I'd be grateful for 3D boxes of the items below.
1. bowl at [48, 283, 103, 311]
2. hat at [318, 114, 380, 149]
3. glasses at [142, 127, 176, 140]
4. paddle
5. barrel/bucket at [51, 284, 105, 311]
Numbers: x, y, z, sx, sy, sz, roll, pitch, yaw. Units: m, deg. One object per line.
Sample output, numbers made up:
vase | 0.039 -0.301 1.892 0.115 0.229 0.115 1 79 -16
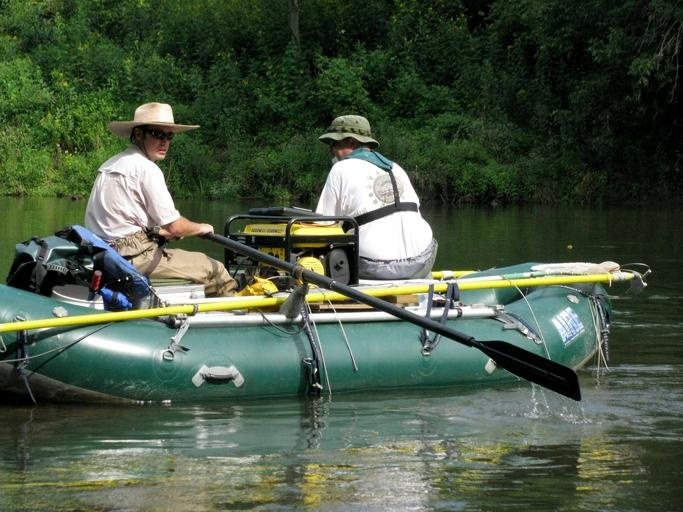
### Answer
bowl | -2.445 0.371 10.519 0.377 0.118 0.264 11 1 14
hat | 0.064 -1.271 11.599 0.751 0.265 0.612 4 2 -23
glasses | -1.750 -1.164 10.767 0.185 0.047 0.156 11 0 37
paddle | 0.391 0.632 10.743 4.202 0.197 0.424 17 21 -2
barrel/bucket | -2.430 0.374 10.529 0.377 0.118 0.267 11 1 14
